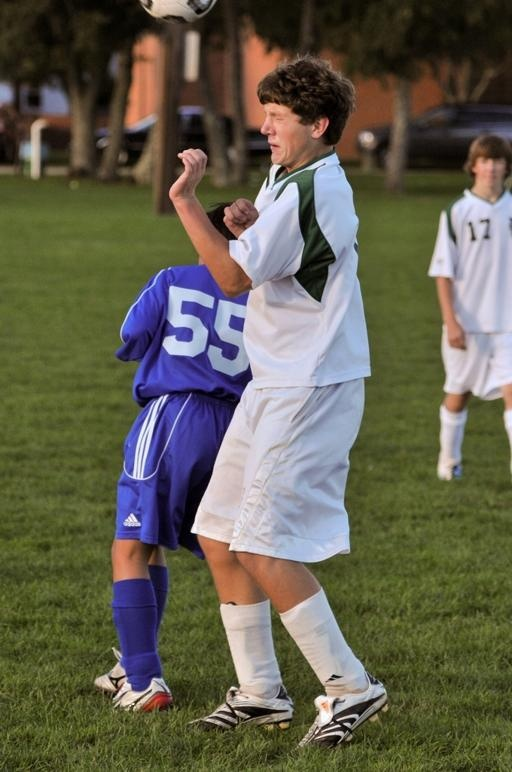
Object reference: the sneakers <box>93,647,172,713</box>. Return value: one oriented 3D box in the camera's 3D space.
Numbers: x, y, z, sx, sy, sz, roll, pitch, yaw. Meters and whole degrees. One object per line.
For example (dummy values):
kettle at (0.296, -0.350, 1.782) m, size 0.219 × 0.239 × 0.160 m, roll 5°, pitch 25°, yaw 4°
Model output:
sneakers at (-0.357, 0.850, 3.194) m, size 0.100 × 0.119 × 0.282 m, roll -10°, pitch 8°, yaw -37°

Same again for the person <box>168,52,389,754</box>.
person at (0.083, 0.066, 2.850) m, size 0.594 × 1.781 × 0.459 m, roll 11°, pitch 13°, yaw 36°
